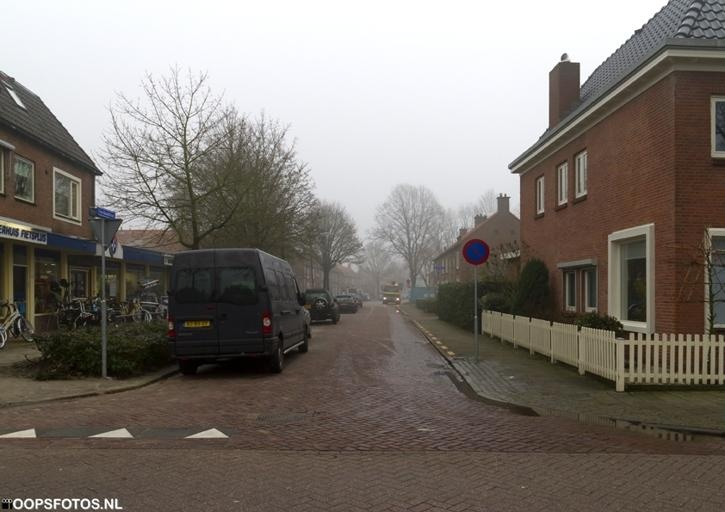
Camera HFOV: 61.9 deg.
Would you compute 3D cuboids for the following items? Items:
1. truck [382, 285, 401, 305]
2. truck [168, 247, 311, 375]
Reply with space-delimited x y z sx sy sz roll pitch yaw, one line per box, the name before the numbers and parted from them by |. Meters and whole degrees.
truck | 3.602 4.765 75.605 1.447 1.697 2.690 1 0 6
truck | -2.789 1.146 15.184 1.843 2.056 3.787 -2 -3 7
